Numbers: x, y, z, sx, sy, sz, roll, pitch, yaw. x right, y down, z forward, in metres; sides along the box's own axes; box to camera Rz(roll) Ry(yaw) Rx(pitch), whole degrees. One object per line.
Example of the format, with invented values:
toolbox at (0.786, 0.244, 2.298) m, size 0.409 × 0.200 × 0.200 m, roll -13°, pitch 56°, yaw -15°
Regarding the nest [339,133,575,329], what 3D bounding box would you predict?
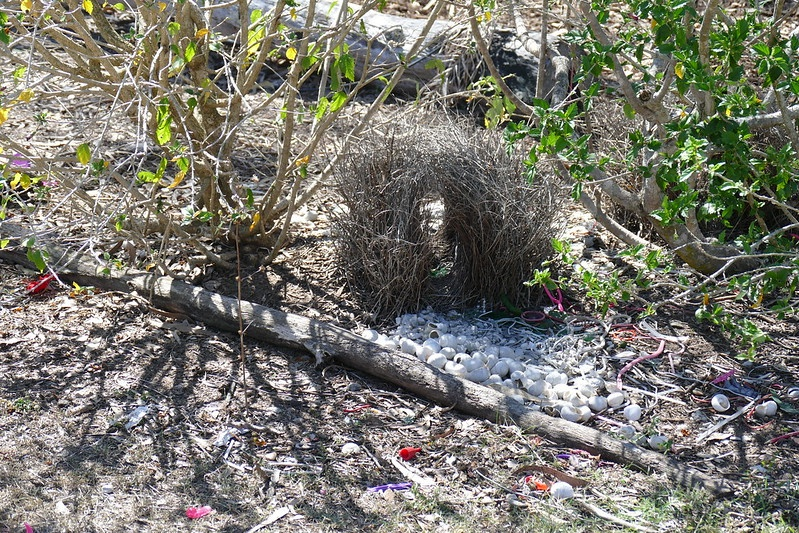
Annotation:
nest at (0.283, -0.449, 4.985) m, size 1.624 × 1.023 × 1.632 m, roll 12°, pitch 11°, yaw 5°
